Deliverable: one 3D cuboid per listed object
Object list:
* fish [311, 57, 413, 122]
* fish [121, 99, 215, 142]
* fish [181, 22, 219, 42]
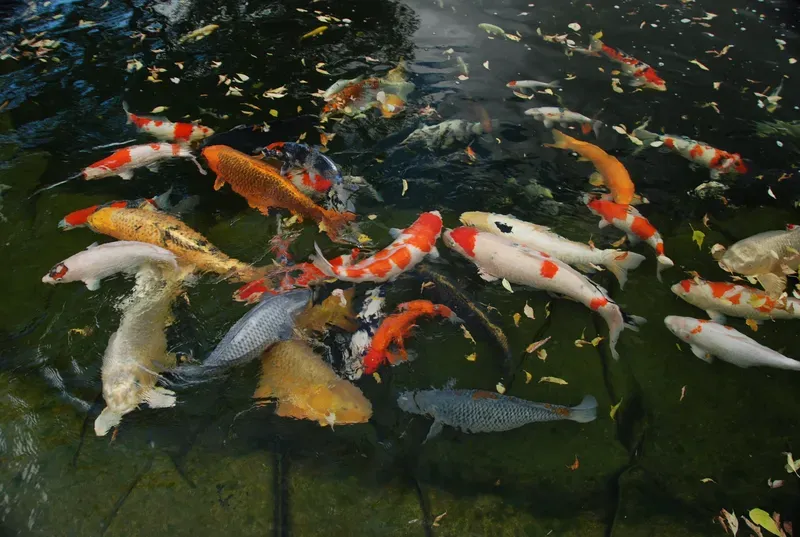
[{"bbox_3d":[-0.498,-2.993,13.776,1.372,0.391,0.874,-30,70,-11],"label":"fish"},{"bbox_3d":[-3.802,-2.312,13.168,1.406,0.252,0.467,15,49,12],"label":"fish"},{"bbox_3d":[-3.707,-4.323,14.763,0.929,0.227,0.254,-16,81,-14],"label":"fish"}]
